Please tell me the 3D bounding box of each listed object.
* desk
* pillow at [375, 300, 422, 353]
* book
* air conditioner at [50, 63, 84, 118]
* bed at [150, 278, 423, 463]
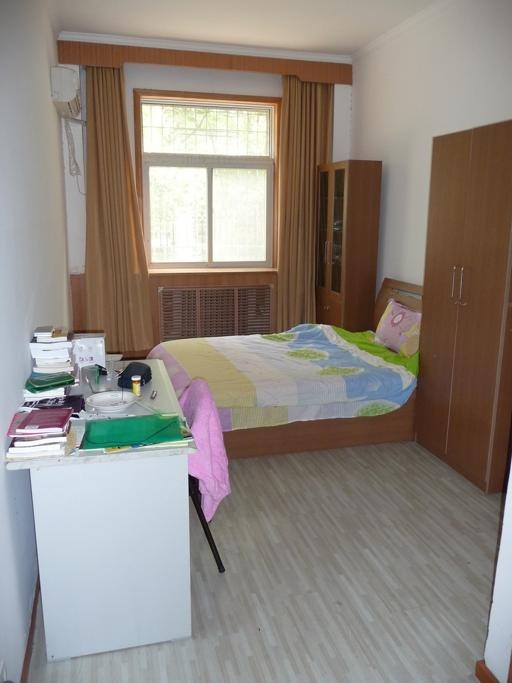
[{"bbox_3d":[-0.429,0.561,1.656,0.495,0.575,1.086,-4,19,-13],"label":"desk"},{"bbox_3d":[1.039,-0.096,3.556,0.095,0.340,0.341,17,7,-26],"label":"pillow"},{"bbox_3d":[-0.658,0.147,1.566,0.166,0.103,0.690,3,20,-9],"label":"book"},{"bbox_3d":[-1.381,-1.830,3.536,0.160,0.307,0.603,-2,8,-16],"label":"air conditioner"},{"bbox_3d":[0.238,0.160,3.310,1.687,0.946,0.992,-4,16,-12],"label":"bed"}]
